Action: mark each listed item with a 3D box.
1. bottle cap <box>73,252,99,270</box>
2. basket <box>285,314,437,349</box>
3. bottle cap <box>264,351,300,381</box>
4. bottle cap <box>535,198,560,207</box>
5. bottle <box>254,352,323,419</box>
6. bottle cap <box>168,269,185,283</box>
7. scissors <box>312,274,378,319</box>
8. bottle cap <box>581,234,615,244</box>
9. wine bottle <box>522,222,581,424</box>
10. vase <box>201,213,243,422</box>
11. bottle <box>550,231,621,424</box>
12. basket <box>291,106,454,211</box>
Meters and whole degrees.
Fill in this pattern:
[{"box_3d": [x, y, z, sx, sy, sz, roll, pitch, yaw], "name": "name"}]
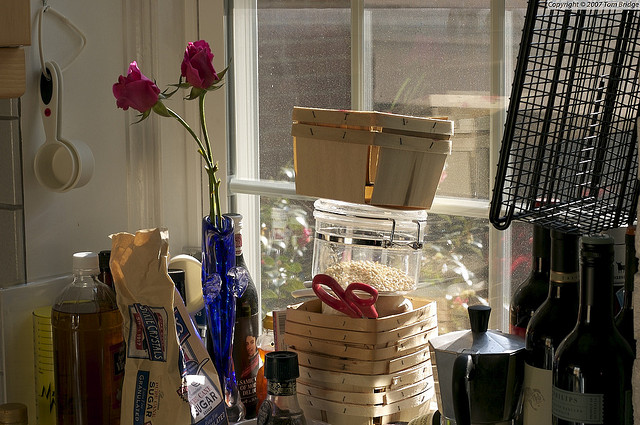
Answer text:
[{"box_3d": [-0.490, 0.095, 1.220, 0.036, 0.023, 0.036, 1, 5, -33], "name": "bottle cap"}, {"box_3d": [0.086, 0.203, 1.172, 0.177, 0.049, 0.245, -3, 5, -40], "name": "basket"}, {"box_3d": [-0.072, 0.282, 1.089, 0.058, 0.039, 0.058, -1, 4, -41], "name": "bottle cap"}, {"box_3d": [0.367, -0.017, 0.946, 0.016, 0.014, 0.017, -1, -6, -7], "name": "bottle cap"}, {"box_3d": [-0.073, 0.323, 1.092, 0.085, 0.130, 0.053, 1, 9, -3], "name": "bottle"}, {"box_3d": [-0.309, 0.135, 1.266, 0.025, 0.016, 0.026, 0, 6, -17], "name": "bottle cap"}, {"box_3d": [0.055, 0.157, 1.160, 0.143, 0.071, 0.104, 5, 10, 21], "name": "scissors"}, {"box_3d": [0.415, 0.036, 0.879, 0.043, 0.013, 0.050, 5, 10, 20], "name": "bottle cap"}, {"box_3d": [0.374, 0.190, 0.946, 0.068, 0.367, 0.073, -1, 7, 0], "name": "wine bottle"}, {"box_3d": [-0.202, 0.220, 1.218, 0.077, 0.432, 0.065, -1, 9, -13], "name": "vase"}, {"box_3d": [0.400, 0.180, 0.888, 0.076, 0.293, 0.046, 5, 10, 24], "name": "bottle"}, {"box_3d": [0.095, -0.101, 1.099, 0.292, 0.178, 0.081, 4, 9, 14], "name": "basket"}]
